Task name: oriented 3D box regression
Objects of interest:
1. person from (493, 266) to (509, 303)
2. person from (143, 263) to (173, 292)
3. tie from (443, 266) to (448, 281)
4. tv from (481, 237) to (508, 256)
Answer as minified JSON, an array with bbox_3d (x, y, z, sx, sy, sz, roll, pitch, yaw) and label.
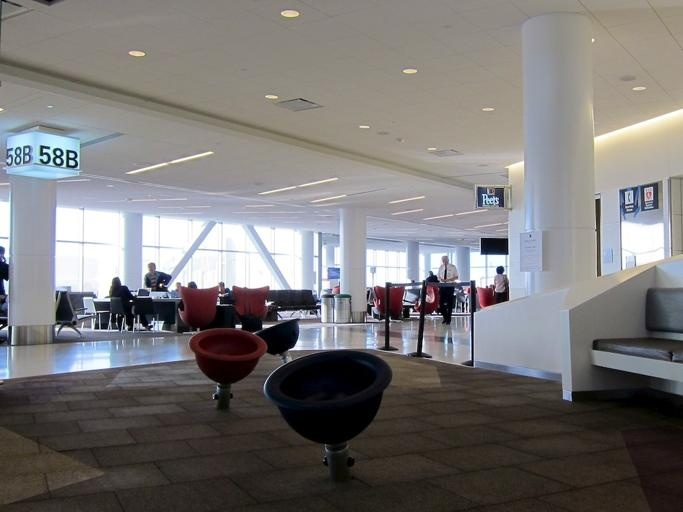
[{"bbox_3d":[4.530,0.812,14.186,0.367,1.051,1.230,-1,-4,15],"label":"person"},{"bbox_3d":[-5.465,0.627,14.753,0.986,0.881,0.816,0,-33,-22],"label":"person"},{"bbox_3d":[2.829,0.477,13.606,0.082,0.381,0.207,1,-4,-20],"label":"tie"},{"bbox_3d":[5.655,-0.344,18.489,0.804,0.458,0.077,1,2,-6],"label":"tv"}]
